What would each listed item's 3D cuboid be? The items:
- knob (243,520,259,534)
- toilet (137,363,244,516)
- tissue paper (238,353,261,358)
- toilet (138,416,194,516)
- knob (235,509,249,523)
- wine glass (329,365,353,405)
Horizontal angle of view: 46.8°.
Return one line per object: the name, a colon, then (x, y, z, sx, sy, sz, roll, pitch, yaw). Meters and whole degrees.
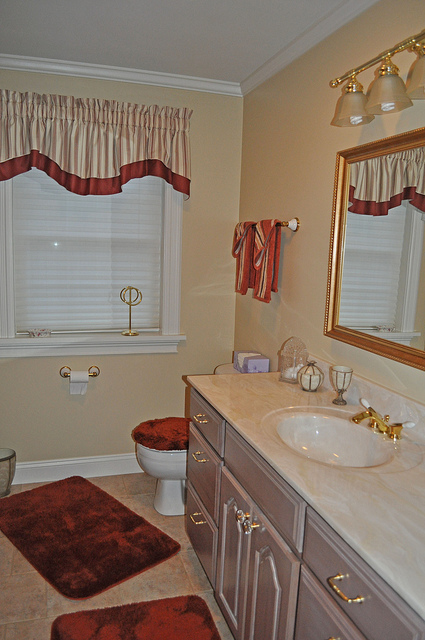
knob: (0.101, 0.565, 1.344, 0.044, 0.033, 0.032, -2, 6, -18)
toilet: (-0.085, 0.695, 2.742, 0.745, 0.846, 0.446, -1, 4, -22)
tissue paper: (0.187, 0.178, 2.434, 0.091, 0.012, 0.115, 1, 8, -12)
toilet: (-0.205, 0.735, 2.474, 0.312, 0.409, 0.388, -3, -1, 3)
knob: (0.084, 0.559, 1.391, 0.024, 0.036, 0.056, 0, 8, -15)
wine glass: (0.434, 0.222, 1.667, 0.065, 0.121, 0.067, 3, 8, 3)
